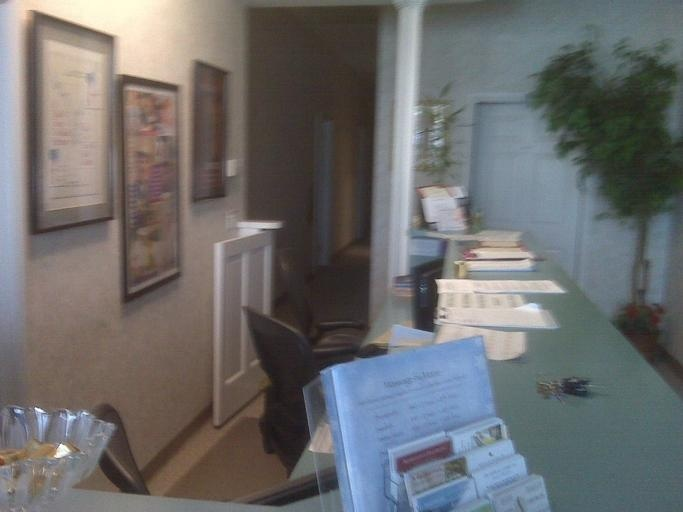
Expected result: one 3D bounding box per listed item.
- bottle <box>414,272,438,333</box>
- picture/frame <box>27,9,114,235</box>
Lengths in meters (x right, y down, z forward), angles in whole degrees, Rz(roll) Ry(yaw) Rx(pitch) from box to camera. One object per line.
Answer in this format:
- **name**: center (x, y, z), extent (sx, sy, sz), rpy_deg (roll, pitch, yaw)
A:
- **bottle**: center (0.172, 0.099, 1.106), extent (0.028, 0.099, 0.079), rpy_deg (4, 6, 42)
- **picture/frame**: center (-0.538, -0.268, 1.071), extent (0.219, 0.408, 0.092), rpy_deg (-12, 19, -27)
